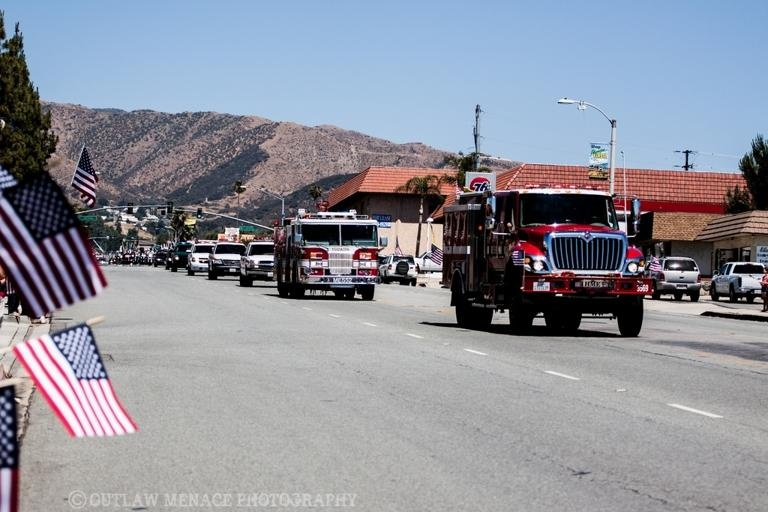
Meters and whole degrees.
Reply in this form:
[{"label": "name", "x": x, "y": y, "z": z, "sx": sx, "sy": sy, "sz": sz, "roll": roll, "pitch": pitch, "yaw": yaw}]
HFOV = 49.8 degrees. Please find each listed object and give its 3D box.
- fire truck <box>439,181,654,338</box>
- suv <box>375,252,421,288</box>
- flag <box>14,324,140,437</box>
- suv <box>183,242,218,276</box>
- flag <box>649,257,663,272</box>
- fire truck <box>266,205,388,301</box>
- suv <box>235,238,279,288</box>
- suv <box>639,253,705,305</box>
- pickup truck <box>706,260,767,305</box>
[{"label": "fire truck", "x": 4.298, "y": 0.044, "z": 22.915, "sx": 3.997, "sy": 3.542, "sz": 7.326, "roll": 0, "pitch": -1, "yaw": -13}, {"label": "suv", "x": 0.994, "y": 1.094, "z": 58.497, "sx": 2.293, "sy": 1.885, "sz": 4.403, "roll": 0, "pitch": 3, "yaw": -9}, {"label": "flag", "x": -1.780, "y": 0.724, "z": 4.744, "sx": 0.349, "sy": 0.718, "sz": 0.852, "roll": 1, "pitch": 0, "yaw": 6}, {"label": "suv", "x": -14.624, "y": -0.340, "z": 67.051, "sx": 2.097, "sy": 2.010, "sz": 4.611, "roll": 2, "pitch": 21, "yaw": -10}, {"label": "flag", "x": 13.436, "y": 0.444, "z": 40.752, "sx": 0.890, "sy": 0.747, "sz": 0.259, "roll": 7, "pitch": -5, "yaw": -43}, {"label": "fire truck", "x": -2.687, "y": -0.250, "z": 37.688, "sx": 3.718, "sy": 3.566, "sz": 7.860, "roll": 0, "pitch": 2, "yaw": -15}, {"label": "suv", "x": -7.594, "y": 0.249, "z": 51.180, "sx": 2.344, "sy": 2.212, "sz": 5.276, "roll": 0, "pitch": 5, "yaw": -18}, {"label": "suv", "x": 15.560, "y": 1.208, "z": 45.702, "sx": 2.378, "sy": 2.120, "sz": 4.868, "roll": 3, "pitch": 1, "yaw": -3}, {"label": "pickup truck", "x": 18.776, "y": 1.359, "z": 43.976, "sx": 2.073, "sy": 1.906, "sz": 6.022, "roll": 1, "pitch": 0, "yaw": 7}]
